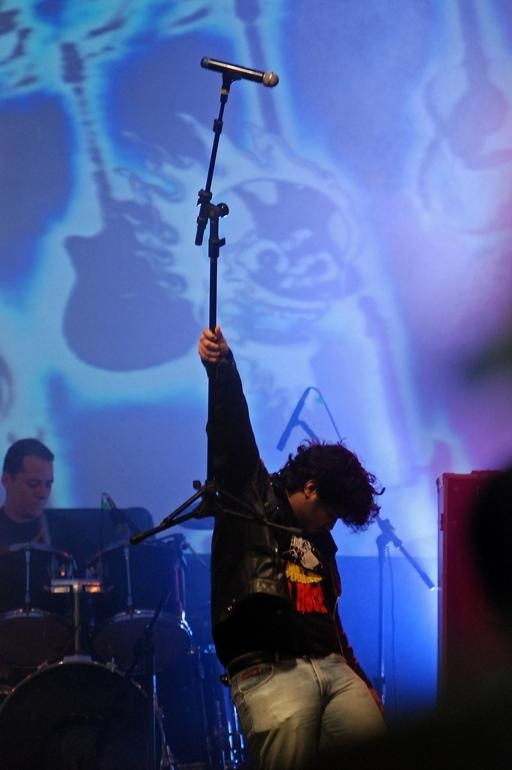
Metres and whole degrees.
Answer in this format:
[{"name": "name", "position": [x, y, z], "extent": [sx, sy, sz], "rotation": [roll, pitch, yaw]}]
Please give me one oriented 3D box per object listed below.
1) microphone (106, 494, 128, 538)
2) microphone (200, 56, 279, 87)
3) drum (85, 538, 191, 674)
[{"name": "microphone", "position": [-0.795, 0.697, 5.248], "extent": [0.073, 0.095, 0.390], "rotation": [-3, 32, -22]}, {"name": "microphone", "position": [-0.059, -0.972, 2.923], "extent": [0.213, 0.103, 0.457], "rotation": [0, 12, -3]}, {"name": "drum", "position": [-0.565, 1.183, 4.697], "extent": [0.488, 0.683, 0.664], "rotation": [-2, 13, -11]}]
